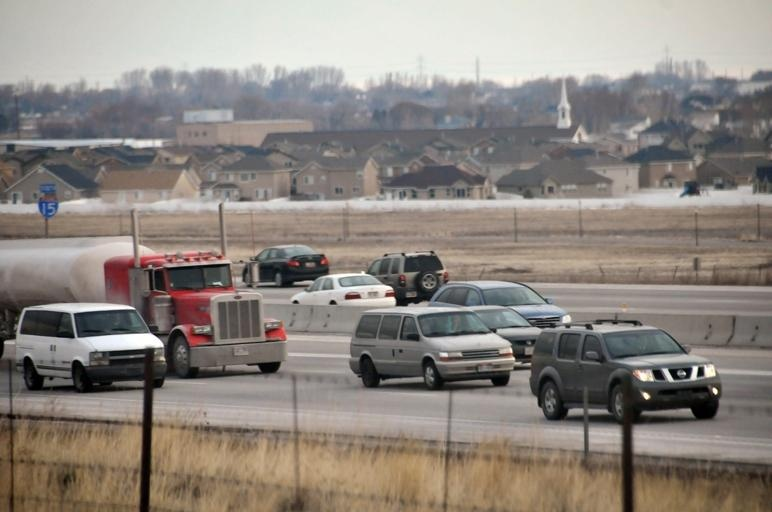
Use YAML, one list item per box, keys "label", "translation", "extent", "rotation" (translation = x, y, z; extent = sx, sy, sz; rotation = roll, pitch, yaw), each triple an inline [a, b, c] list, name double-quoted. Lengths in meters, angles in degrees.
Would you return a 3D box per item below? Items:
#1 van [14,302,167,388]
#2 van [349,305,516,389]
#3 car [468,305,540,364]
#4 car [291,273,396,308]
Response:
- label: "van"
  translation: [-16.580, 4.848, 87.985]
  extent: [4.788, 4.149, 7.748]
  rotation: [1, -2, -43]
- label: "van"
  translation: [2.392, 5.130, 87.037]
  extent: [3.875, 4.228, 9.354]
  rotation: [0, 0, -33]
- label: "car"
  translation: [6.999, 4.163, 89.065]
  extent: [2.025, 2.133, 4.530]
  rotation: [-1, 1, -24]
- label: "car"
  translation: [-0.847, 2.244, 100.275]
  extent: [3.478, 3.085, 7.841]
  rotation: [2, -1, -28]
